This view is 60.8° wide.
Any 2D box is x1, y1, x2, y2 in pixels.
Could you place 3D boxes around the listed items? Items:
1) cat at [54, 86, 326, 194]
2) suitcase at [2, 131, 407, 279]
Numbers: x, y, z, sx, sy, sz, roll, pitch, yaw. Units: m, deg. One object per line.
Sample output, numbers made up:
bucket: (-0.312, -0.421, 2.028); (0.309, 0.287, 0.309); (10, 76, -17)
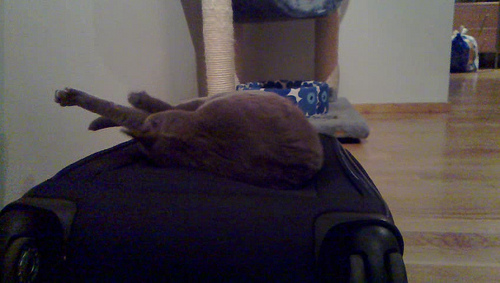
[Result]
cat: (-0.107, 0.007, 0.906); (0.449, 0.111, 0.249); (16, 17, -5)
suitcase: (-0.104, 0.103, 0.902); (0.450, 0.145, 0.424); (0, 6, 1)
